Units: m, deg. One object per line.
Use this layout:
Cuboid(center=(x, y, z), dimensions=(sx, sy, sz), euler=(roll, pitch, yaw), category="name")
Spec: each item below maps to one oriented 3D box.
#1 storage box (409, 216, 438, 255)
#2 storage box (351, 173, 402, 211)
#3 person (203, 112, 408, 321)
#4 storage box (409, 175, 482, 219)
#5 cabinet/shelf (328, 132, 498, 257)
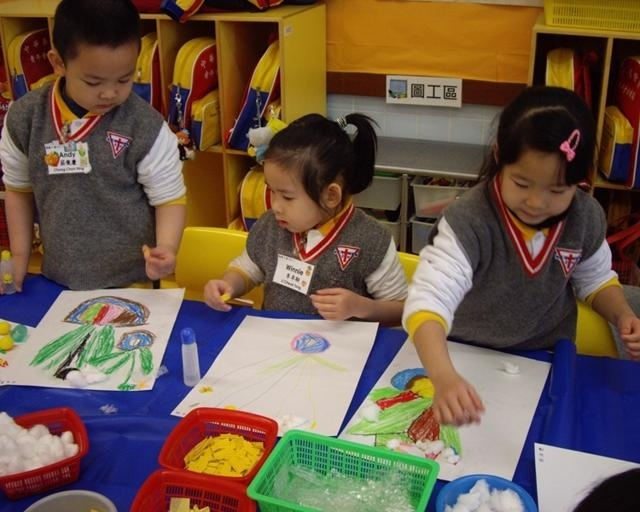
Cuboid(center=(0.474, -0.103, 2.333), dimensions=(0.110, 0.158, 0.151), euler=(13, 27, 23), category="storage box")
Cuboid(center=(0.340, -0.392, 2.881), dimensions=(0.202, 0.141, 0.222), euler=(8, 21, 23), category="storage box")
Cuboid(center=(-0.057, -0.146, 1.772), dimensions=(0.472, 0.837, 0.536), euler=(-27, 42, -33), category="person")
Cuboid(center=(0.643, -0.334, 2.709), dimensions=(0.285, 0.240, 0.450), euler=(2, 15, 9), category="storage box")
Cuboid(center=(0.503, -0.443, 2.859), dimensions=(0.811, 0.865, 0.570), euler=(8, 29, 12), category="cabinet/shelf")
